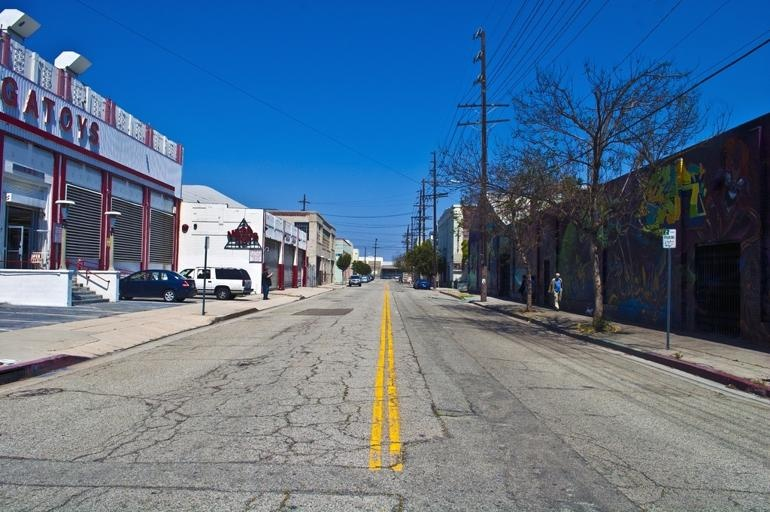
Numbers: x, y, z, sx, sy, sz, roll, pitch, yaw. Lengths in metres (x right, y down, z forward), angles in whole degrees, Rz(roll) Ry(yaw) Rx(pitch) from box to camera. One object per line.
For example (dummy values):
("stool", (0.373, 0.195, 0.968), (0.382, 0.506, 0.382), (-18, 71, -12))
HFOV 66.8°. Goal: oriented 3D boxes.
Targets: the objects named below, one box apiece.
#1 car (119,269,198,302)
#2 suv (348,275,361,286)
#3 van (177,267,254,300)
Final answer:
("car", (-11.249, 1.506, 29.378), (3.184, 1.229, 1.658), (5, -4, 3))
("suv", (-4.123, 3.513, 84.300), (1.053, 1.101, 2.035), (-1, -8, 2))
("van", (-9.614, 1.395, 33.100), (3.897, 1.729, 2.246), (4, -3, 2))
